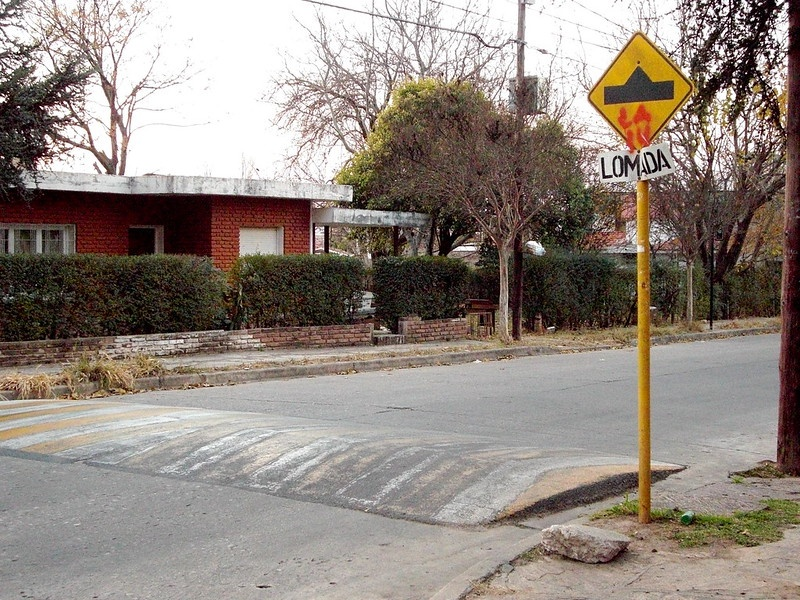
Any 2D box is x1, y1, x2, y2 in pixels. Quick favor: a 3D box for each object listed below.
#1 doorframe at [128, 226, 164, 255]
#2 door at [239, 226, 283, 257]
[{"bbox_3d":[-7.814,-1.886,25.854,1.073,1.260,0.389,0,-2,18],"label":"doorframe"},{"bbox_3d":[-4.218,-1.777,25.152,0.159,0.920,1.168,-3,-2,44],"label":"door"}]
